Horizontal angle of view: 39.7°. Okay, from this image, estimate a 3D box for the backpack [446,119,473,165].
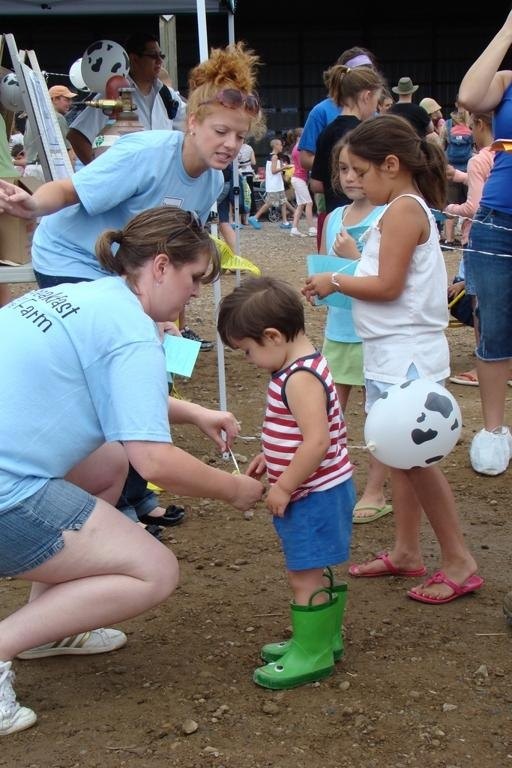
[{"bbox_3d":[2.609,-3.103,9.003,0.368,0.517,0.575,7,34,24],"label":"backpack"}]

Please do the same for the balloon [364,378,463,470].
[{"bbox_3d":[0.422,0.124,1.905,0.252,0.261,0.169,-3,10,-1],"label":"balloon"}]

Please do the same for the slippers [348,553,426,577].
[{"bbox_3d":[0.433,0.625,2.422,0.275,0.070,0.091,1,-2,2],"label":"slippers"}]

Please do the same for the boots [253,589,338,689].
[{"bbox_3d":[0.100,0.647,1.823,0.250,0.223,0.129,0,-2,-26],"label":"boots"}]

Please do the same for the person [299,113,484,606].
[{"bbox_3d":[0.382,-0.091,2.158,0.601,1.396,0.500,0,4,-3],"label":"person"}]

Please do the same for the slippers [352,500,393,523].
[{"bbox_3d":[0.468,0.510,2.906,0.097,0.050,0.245,-3,-2,40],"label":"slippers"}]

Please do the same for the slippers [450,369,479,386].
[{"bbox_3d":[1.378,-0.036,4.762,0.291,0.099,0.104,1,2,-12],"label":"slippers"}]

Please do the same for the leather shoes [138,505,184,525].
[{"bbox_3d":[-0.376,0.538,2.902,0.197,0.049,0.062,-3,6,-1],"label":"leather shoes"}]

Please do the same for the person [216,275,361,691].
[{"bbox_3d":[0.082,0.264,1.863,0.400,0.980,0.367,2,9,9],"label":"person"}]
